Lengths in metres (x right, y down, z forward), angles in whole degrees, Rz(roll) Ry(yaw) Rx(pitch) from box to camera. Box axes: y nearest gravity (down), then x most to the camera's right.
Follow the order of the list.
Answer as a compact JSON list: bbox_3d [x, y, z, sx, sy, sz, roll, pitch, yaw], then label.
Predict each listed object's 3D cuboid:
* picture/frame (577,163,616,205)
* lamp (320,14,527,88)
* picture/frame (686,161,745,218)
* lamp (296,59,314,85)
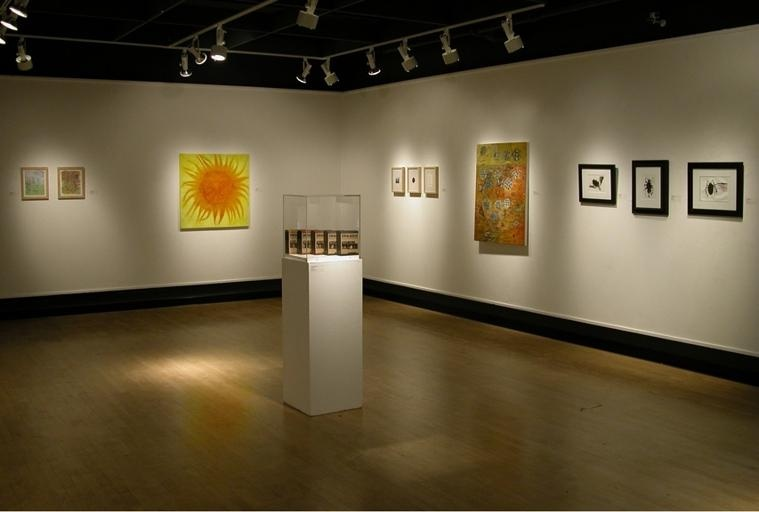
[{"bbox_3d":[3.764,-1.255,8.988,0.046,0.687,0.602,-5,9,-37],"label":"picture/frame"},{"bbox_3d":[0.798,-4.050,10.506,1.967,0.885,5.076,-9,13,-43],"label":"lamp"},{"bbox_3d":[4.944,-1.000,7.717,0.671,0.900,0.062,4,-24,29],"label":"picture/frame"},{"bbox_3d":[-1.782,-4.404,12.404,0.341,0.696,1.997,-1,10,-8],"label":"lamp"}]
